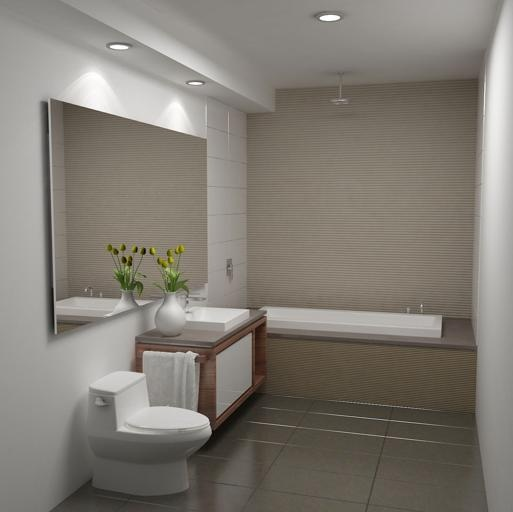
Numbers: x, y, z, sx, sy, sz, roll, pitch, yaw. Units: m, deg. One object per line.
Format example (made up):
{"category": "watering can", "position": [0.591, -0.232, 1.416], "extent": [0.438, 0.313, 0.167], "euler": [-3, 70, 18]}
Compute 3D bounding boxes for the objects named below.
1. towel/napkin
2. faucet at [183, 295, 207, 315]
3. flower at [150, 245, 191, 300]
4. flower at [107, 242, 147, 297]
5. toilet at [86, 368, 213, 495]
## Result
{"category": "towel/napkin", "position": [-0.549, 0.839, 2.848], "extent": [0.433, 0.452, 0.073], "euler": [0, 3, 20]}
{"category": "faucet", "position": [-0.522, 0.413, 3.814], "extent": [0.151, 0.089, 0.213], "euler": [0, 1, 11]}
{"category": "flower", "position": [-0.658, 0.097, 3.399], "extent": [0.384, 0.390, 0.321], "euler": [-3, -2, 0]}
{"category": "flower", "position": [-0.891, 0.098, 2.966], "extent": [0.223, 0.305, 0.183], "euler": [-3, 14, -30]}
{"category": "toilet", "position": [-0.619, 1.025, 2.586], "extent": [0.726, 0.570, 0.526], "euler": [1, 3, 9]}
